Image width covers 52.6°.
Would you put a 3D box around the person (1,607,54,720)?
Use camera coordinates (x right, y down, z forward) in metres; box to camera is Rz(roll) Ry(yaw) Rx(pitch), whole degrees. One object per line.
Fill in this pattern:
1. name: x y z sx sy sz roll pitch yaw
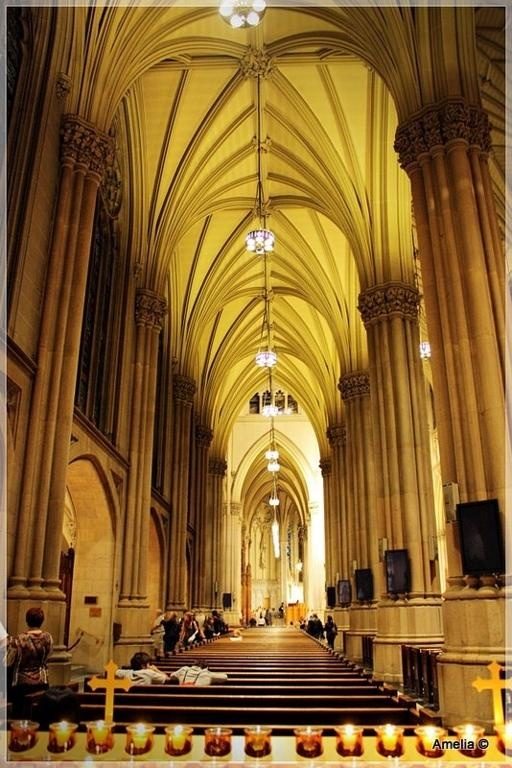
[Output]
1. person: -1.972 2.366 4.463 0.379 0.835 0.924 9 -28 -18
